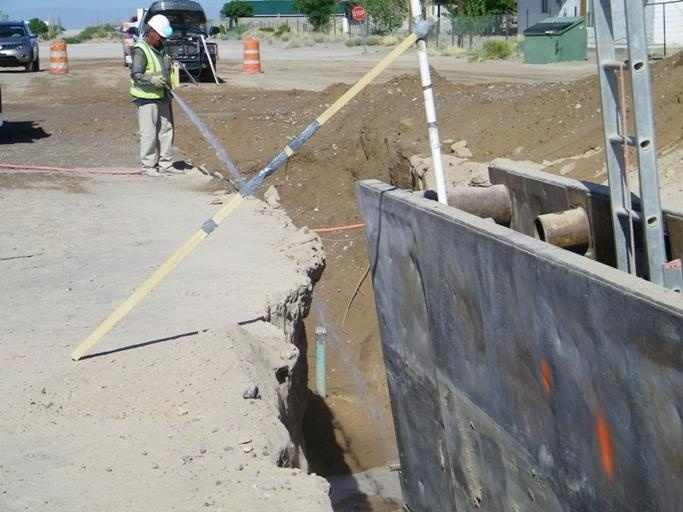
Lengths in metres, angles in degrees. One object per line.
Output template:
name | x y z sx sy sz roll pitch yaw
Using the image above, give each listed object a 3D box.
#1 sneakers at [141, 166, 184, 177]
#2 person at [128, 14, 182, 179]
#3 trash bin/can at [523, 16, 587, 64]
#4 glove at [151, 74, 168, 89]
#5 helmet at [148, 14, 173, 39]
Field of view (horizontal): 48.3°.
sneakers | -2.581 -1.217 10.950 0.601 0.214 0.191 -3 14 -16
person | -2.535 -2.118 10.316 0.721 2.122 1.052 -11 15 -12
trash bin/can | 7.215 -7.196 25.696 1.999 1.357 1.018 -4 15 11
glove | -2.369 -2.251 9.869 0.154 0.137 0.270 22 17 -3
helmet | -2.351 -2.965 9.828 0.247 0.290 0.242 -11 15 -13
